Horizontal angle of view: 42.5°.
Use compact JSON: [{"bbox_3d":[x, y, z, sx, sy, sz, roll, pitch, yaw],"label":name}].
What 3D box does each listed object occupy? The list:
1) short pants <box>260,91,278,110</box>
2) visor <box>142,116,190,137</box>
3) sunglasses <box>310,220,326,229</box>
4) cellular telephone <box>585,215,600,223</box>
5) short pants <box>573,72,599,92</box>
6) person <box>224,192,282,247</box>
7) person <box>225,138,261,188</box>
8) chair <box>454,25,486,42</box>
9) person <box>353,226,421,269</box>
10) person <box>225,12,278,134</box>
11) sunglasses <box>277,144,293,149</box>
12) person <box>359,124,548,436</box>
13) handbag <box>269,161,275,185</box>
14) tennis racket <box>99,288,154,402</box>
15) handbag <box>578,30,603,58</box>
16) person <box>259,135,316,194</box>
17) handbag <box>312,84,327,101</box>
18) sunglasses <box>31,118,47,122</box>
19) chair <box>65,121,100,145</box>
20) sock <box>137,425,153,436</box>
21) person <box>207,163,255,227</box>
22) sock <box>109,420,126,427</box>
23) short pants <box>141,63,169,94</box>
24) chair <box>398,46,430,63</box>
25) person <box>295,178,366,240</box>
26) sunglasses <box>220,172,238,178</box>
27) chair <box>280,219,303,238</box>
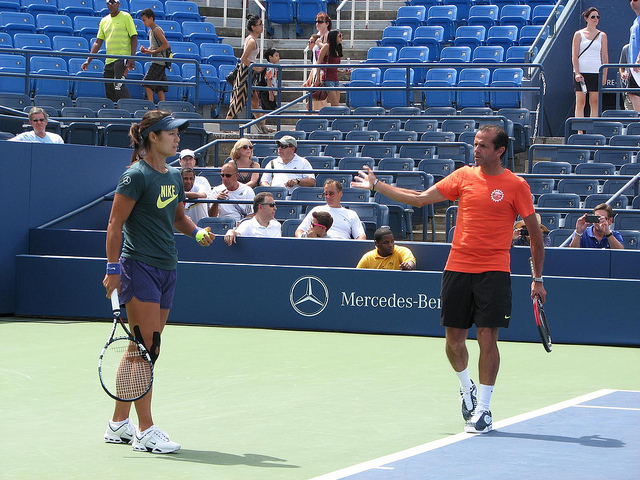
[{"bbox_3d":[-1.106,-3.024,17.768,0.334,0.386,0.327,0,6,-1],"label":"short pants"},{"bbox_3d":[-1.141,-0.863,6.160,0.282,0.094,0.171,-22,3,2],"label":"visor"},{"bbox_3d":[-0.020,-0.203,10.572,0.228,0.102,0.082,5,8,38],"label":"sunglasses"},{"bbox_3d":[3.275,-0.256,9.870,0.201,0.095,0.085,-2,6,-19],"label":"cellular telephone"},{"bbox_3d":[5.032,-2.968,15.449,0.627,0.378,0.369,-2,6,-19],"label":"short pants"},{"bbox_3d":[-0.905,-0.258,10.985,0.698,0.756,0.219,1,-3,-36],"label":"person"},{"bbox_3d":[-1.187,-1.160,12.583,0.583,0.793,0.383,-9,15,-39],"label":"person"},{"bbox_3d":[3.806,-5.177,20.594,0.647,0.496,0.379,1,2,20],"label":"chair"},{"bbox_3d":[0.867,0.057,10.191,0.564,0.813,0.584,-2,-3,-15],"label":"person"},{"bbox_3d":[-1.437,-3.330,16.649,1.160,2.317,0.653,-2,19,-13],"label":"person"},{"bbox_3d":[-0.549,-1.401,12.318,0.187,0.056,0.063,5,8,38],"label":"sunglasses"},{"bbox_3d":[1.216,0.235,6.701,1.072,2.344,0.666,5,8,40],"label":"person"},{"bbox_3d":[-0.707,-0.998,12.579,0.045,0.213,0.148,-1,18,9],"label":"handbag"},{"bbox_3d":[-1.446,0.690,6.077,0.400,1.129,0.086,1,-37,-25],"label":"tennis racket"},{"bbox_3d":[5.092,-3.660,15.375,0.078,0.641,0.070,19,24,-29],"label":"handbag"},{"bbox_3d":[-0.483,-1.142,12.462,0.911,0.848,0.763,1,6,12],"label":"person"},{"bbox_3d":[0.010,-3.048,16.857,0.316,0.473,0.233,8,-2,-2],"label":"handbag"},{"bbox_3d":[-4.140,-1.776,12.126,0.186,0.057,0.093,-2,7,-20],"label":"sunglasses"},{"bbox_3d":[-4.019,-1.811,13.954,0.396,0.552,0.395,0,21,-15],"label":"chair"},{"bbox_3d":[-1.268,1.387,5.989,0.114,0.067,0.034,1,6,7],"label":"sock"},{"bbox_3d":[-1.229,-0.465,11.681,0.720,1.247,0.583,-1,0,-19],"label":"person"},{"bbox_3d":[-1.517,1.371,6.159,0.132,0.046,0.045,2,6,15],"label":"sock"},{"bbox_3d":[-3.312,-3.311,16.726,0.453,0.561,0.931,-1,6,-11],"label":"short pants"},{"bbox_3d":[2.291,-4.455,19.714,0.570,0.437,0.339,2,-22,12],"label":"chair"},{"bbox_3d":[0.170,-0.324,10.777,0.946,0.970,0.558,1,2,11],"label":"person"},{"bbox_3d":[-1.288,-0.917,11.570,0.233,0.062,0.093,3,7,24],"label":"sunglasses"},{"bbox_3d":[-0.414,-0.155,11.336,0.232,0.355,0.257,0,-3,26],"label":"chair"}]
